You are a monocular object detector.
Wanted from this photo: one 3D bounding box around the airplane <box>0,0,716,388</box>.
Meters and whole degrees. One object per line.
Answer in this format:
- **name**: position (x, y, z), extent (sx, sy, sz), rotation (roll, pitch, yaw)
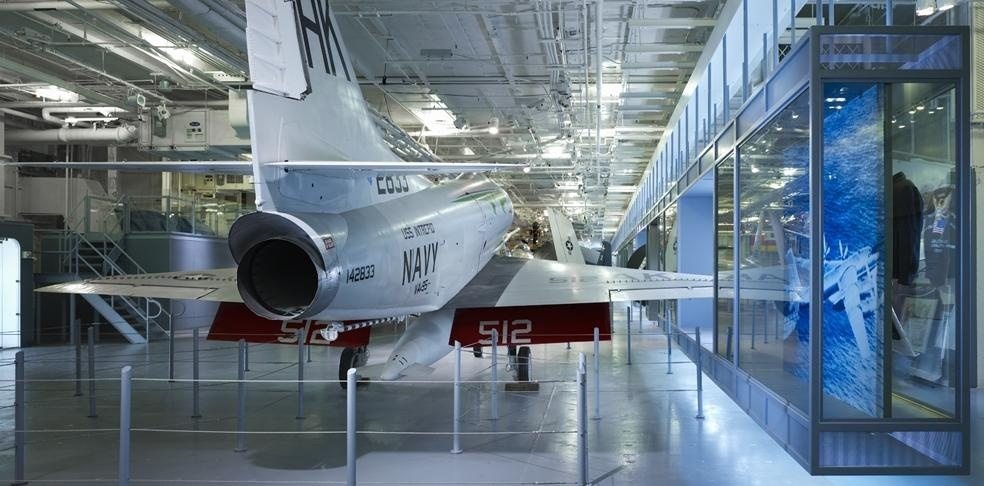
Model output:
- **airplane**: position (-0.451, -0.560, 17.206), extent (13.467, 5.911, 11.411), rotation (1, 1, 21)
